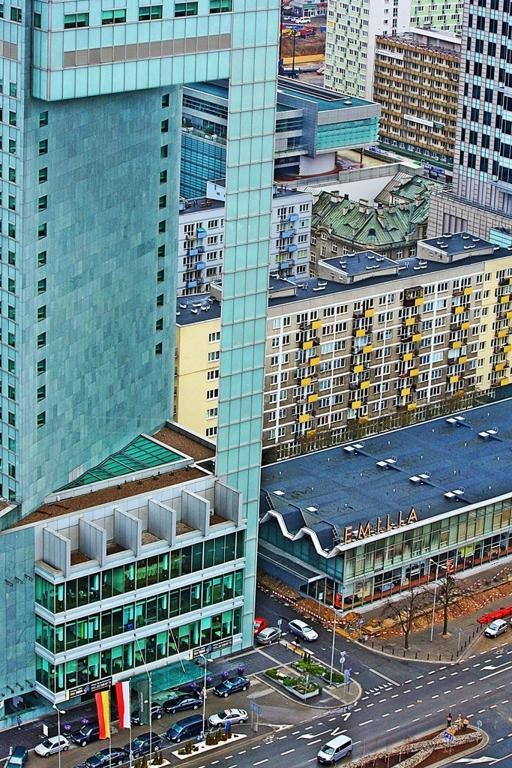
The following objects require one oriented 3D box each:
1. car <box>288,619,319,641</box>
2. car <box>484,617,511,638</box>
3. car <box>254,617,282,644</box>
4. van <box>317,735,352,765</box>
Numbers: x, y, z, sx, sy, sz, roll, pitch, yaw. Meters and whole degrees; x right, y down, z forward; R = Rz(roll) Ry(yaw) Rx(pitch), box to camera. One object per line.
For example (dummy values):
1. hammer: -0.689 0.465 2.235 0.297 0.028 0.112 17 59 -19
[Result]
1. car: 5.302 28.082 235.419 2.084 1.675 3.592 -12 16 -44
2. car: 27.487 28.089 238.095 2.653 1.438 1.525 -12 21 -44
3. car: 1.299 27.995 234.326 2.870 2.036 4.087 -1 11 1
4. van: 8.042 36.986 210.556 3.428 1.757 1.836 -14 24 -43
